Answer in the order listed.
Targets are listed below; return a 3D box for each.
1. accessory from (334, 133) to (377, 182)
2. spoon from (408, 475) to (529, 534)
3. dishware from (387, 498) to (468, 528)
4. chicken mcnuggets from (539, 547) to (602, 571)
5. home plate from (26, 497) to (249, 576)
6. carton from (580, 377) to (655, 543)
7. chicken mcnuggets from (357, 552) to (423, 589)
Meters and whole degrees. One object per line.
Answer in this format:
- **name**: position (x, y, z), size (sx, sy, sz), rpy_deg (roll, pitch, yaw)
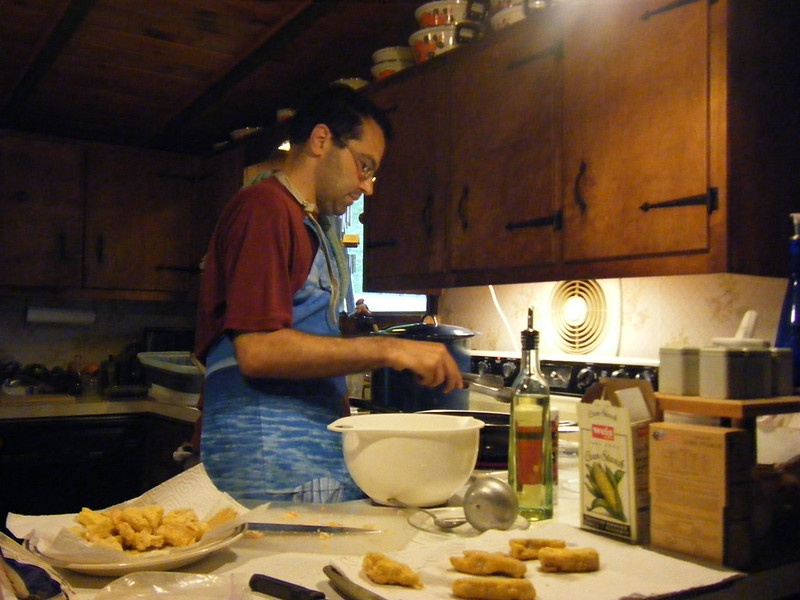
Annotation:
- **accessory**: position (-0.126, -0.389, 1.768), size (0.028, 0.100, 0.099), rpy_deg (-41, -19, 5)
- **spoon**: position (0.142, 0.354, 1.220), size (0.139, 0.056, 0.136), rpy_deg (0, -4, -29)
- **dishware**: position (0.041, 0.412, 1.294), size (0.202, 0.033, 0.047), rpy_deg (0, 5, 42)
- **chicken mcnuggets**: position (0.272, 0.418, 1.042), size (0.065, 0.022, 0.045), rpy_deg (0, -2, 0)
- **home plate**: position (-0.428, 0.399, 1.076), size (0.346, 0.087, 0.148), rpy_deg (1, 6, -23)
- **carton**: position (0.397, 0.291, 1.215), size (0.142, 0.278, 0.106), rpy_deg (5, 6, 20)
- **chicken mcnuggets**: position (-0.015, 0.407, 1.002), size (0.072, 0.029, 0.046), rpy_deg (7, 3, 24)
